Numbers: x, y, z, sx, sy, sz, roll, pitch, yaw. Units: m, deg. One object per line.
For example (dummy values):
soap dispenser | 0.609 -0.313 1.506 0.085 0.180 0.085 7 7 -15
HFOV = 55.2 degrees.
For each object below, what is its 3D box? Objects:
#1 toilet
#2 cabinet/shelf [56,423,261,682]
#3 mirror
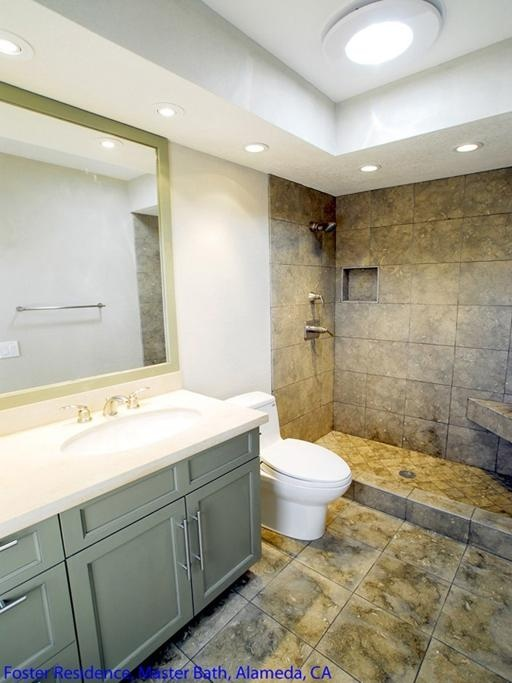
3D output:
toilet | 0.167 0.628 2.402 0.684 0.588 0.392 10 16 39
cabinet/shelf | -0.326 0.690 1.572 0.303 0.636 0.747 4 12 33
mirror | -0.632 -0.371 1.829 0.025 1.213 1.072 0 5 28
